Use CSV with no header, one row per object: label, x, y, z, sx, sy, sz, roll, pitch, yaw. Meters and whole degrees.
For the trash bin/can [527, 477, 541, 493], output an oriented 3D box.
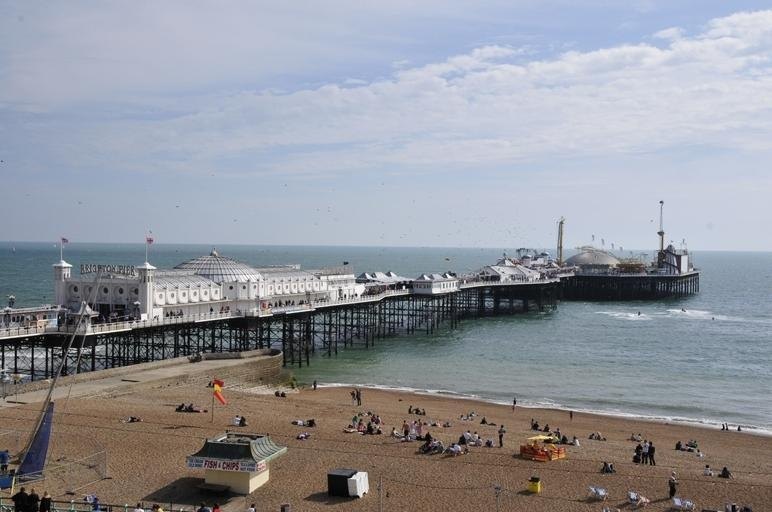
trash bin/can,7.788,12.049,47.894,0.594,0.723,0.905,-3,-1,31
